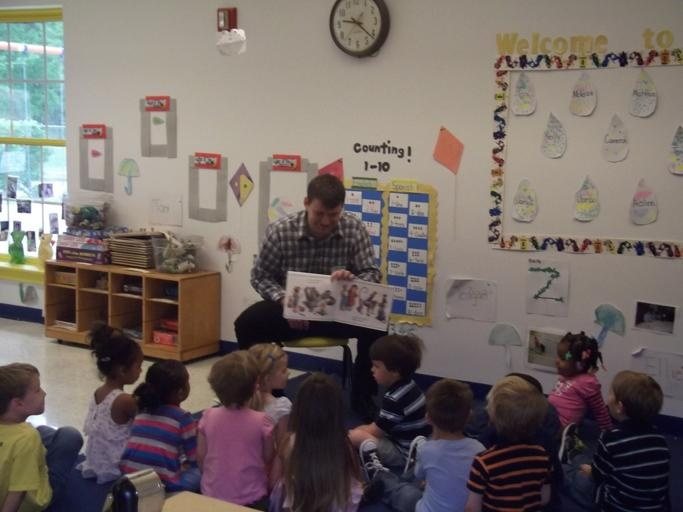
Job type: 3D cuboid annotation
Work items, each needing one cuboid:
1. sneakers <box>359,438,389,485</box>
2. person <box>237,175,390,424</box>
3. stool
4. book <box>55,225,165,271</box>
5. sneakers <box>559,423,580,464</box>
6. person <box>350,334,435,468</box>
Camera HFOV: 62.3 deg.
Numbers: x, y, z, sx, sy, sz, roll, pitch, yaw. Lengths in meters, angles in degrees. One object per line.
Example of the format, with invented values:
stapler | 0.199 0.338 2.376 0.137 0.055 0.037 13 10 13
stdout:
sneakers | 0.150 0.931 2.613 0.080 0.250 0.097 -2 0 -28
person | -0.186 0.222 3.330 0.784 1.342 0.747 1 5 -8
stool | -0.150 0.657 3.498 0.464 0.421 0.415 -1 -2 30
book | -1.915 -0.075 4.514 0.588 0.187 0.438 6 5 38
sneakers | 1.142 0.940 2.839 0.116 0.224 0.050 20 -7 -35
person | 0.199 0.756 2.801 0.435 0.753 0.313 2 8 0
